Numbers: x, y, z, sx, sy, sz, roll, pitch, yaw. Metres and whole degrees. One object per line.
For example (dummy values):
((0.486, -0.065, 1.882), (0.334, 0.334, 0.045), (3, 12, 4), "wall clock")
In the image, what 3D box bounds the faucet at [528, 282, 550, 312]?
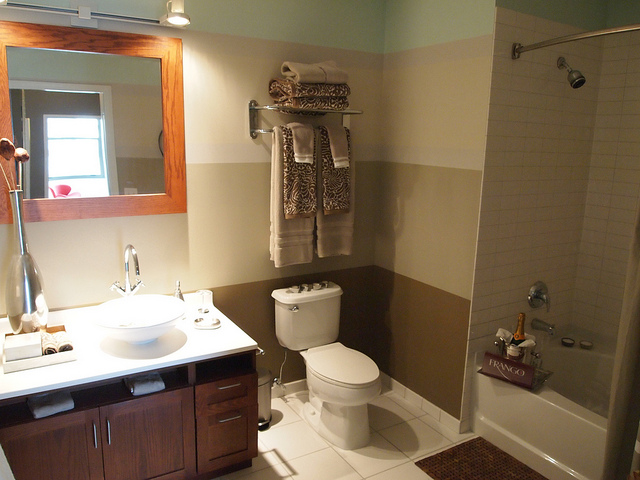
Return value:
((1.498, 0.380, 3.353), (0.191, 0.195, 0.091), (-19, 19, -23), "faucet")

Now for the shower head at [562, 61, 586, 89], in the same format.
((1.518, -1.002, 3.002), (0.105, 0.177, 0.304), (1, 12, 23), "shower head")

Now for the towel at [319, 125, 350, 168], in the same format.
((0.111, -0.619, 3.331), (0.186, 0.262, 0.075), (-8, 10, -29), "towel")

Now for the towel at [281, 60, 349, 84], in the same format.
((-0.030, -1.056, 3.182), (0.276, 0.106, 0.223), (-6, 18, -22), "towel")

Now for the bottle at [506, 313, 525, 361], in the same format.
((1.221, 0.605, 3.119), (0.106, 0.277, 0.140), (1, 12, 21), "bottle")

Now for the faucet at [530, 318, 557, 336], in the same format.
((1.477, 0.558, 3.300), (0.092, 0.098, 0.152), (-5, 18, -36), "faucet")

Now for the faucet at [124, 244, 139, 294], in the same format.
((-1.112, 0.155, 2.922), (0.087, 0.275, 0.202), (-7, 12, -19), "faucet")

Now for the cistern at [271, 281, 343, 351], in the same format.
((-0.086, 0.532, 3.553), (0.513, 0.401, 0.307), (-6, 15, -29), "cistern")

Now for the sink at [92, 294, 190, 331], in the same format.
((-0.994, 0.396, 2.781), (0.464, 0.148, 0.495), (-7, 11, -20), "sink")

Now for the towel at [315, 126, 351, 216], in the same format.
((0.113, -0.466, 3.346), (0.225, 0.634, 0.066), (4, 10, 31), "towel")

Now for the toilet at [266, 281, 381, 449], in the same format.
((0.068, 0.836, 3.371), (0.489, 0.898, 0.821), (-8, 18, -33), "toilet")

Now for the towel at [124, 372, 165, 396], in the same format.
((-0.933, 0.755, 2.649), (0.179, 0.070, 0.154), (-9, 12, -26), "towel")

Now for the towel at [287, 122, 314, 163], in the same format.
((-0.117, -0.624, 3.207), (0.162, 0.257, 0.125), (-4, 11, -2), "towel")

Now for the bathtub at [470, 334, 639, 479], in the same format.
((1.456, 1.111, 3.182), (0.821, 0.521, 0.821), (-6, 10, -33), "bathtub")
